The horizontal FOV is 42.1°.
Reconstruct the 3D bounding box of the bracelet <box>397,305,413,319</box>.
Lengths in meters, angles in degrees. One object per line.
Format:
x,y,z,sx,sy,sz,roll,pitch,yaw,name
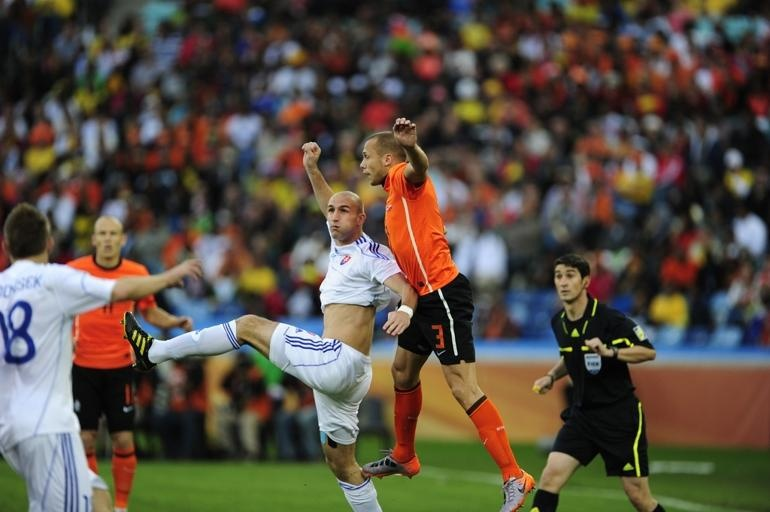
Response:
0.224,0.599,10.884,0.132,0.096,0.135,6,0,45,bracelet

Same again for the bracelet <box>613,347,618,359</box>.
2.486,1.041,10.815,0.063,0.096,0.103,4,-25,5,bracelet
